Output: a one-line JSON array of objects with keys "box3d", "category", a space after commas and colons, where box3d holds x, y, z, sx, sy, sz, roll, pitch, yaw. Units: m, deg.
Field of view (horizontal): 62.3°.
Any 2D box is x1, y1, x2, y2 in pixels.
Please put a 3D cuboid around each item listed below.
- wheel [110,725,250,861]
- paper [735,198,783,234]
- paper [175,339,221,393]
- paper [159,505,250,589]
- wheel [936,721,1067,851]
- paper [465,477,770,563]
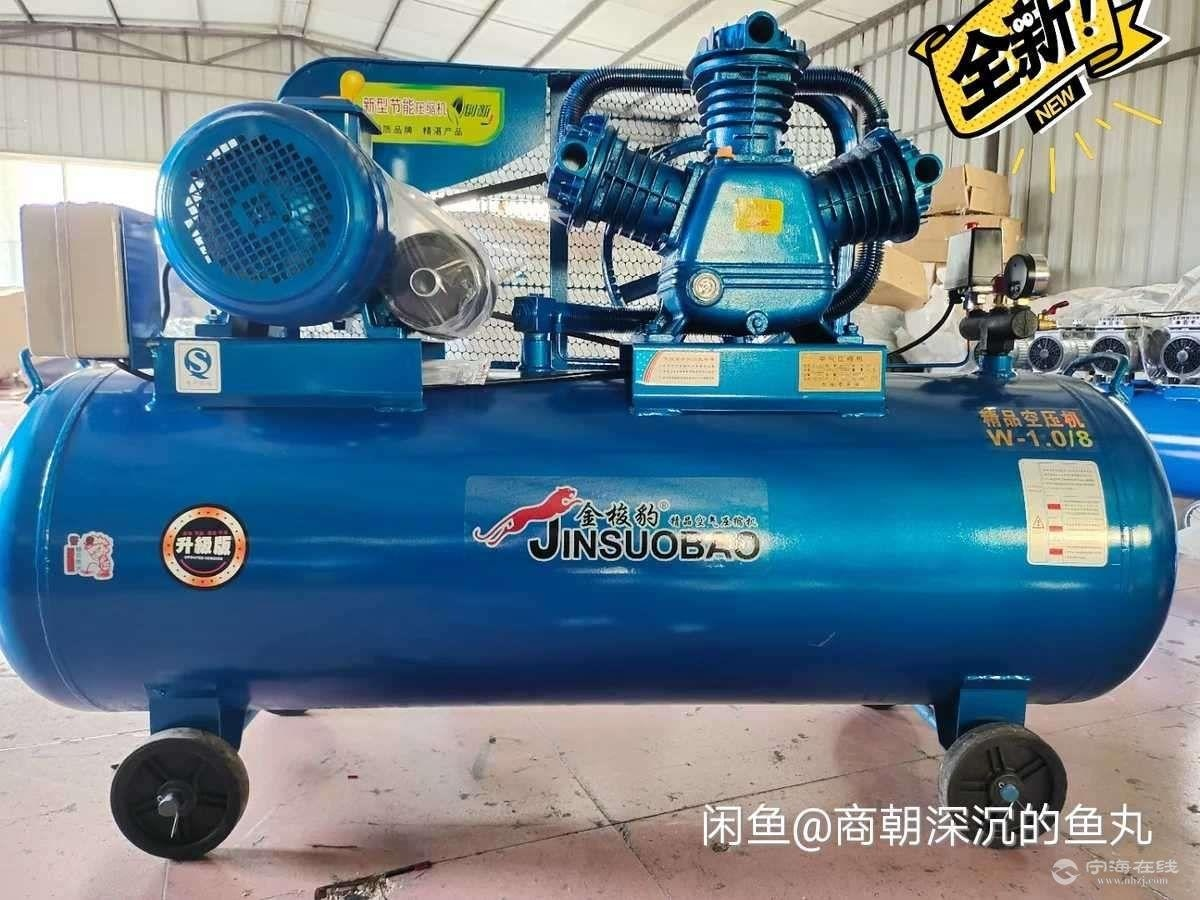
[{"box3d": [-1.013, 0.837, 2.402, 0.313, 0.305, 0.155, 3, 1, -4], "category": "wheel"}, {"box3d": [0.393, -0.573, 2.502, 0.124, 0.084, 0.028, 6, 2, 0], "category": "paper"}, {"box3d": [-0.971, -0.205, 2.394, 0.125, 0.160, 0.018, 0, 4, -4], "category": "paper"}, {"box3d": [-0.929, 0.228, 2.313, 0.165, 0.156, 0.021, 15, -4, 3], "category": "paper"}, {"box3d": [0.988, 0.833, 2.445, 0.318, 0.309, 0.096, -1, 2, -5], "category": "wheel"}, {"box3d": [0.044, 0.165, 2.354, 0.711, 0.185, 0.054, 0, 10, -1], "category": "paper"}]
